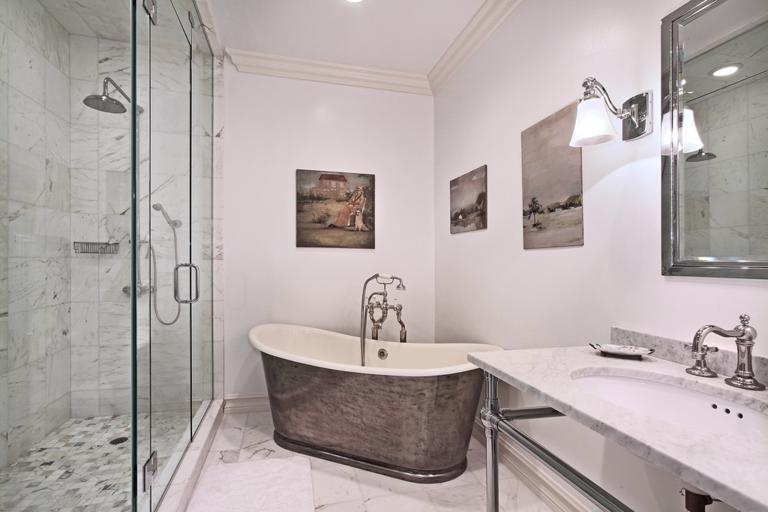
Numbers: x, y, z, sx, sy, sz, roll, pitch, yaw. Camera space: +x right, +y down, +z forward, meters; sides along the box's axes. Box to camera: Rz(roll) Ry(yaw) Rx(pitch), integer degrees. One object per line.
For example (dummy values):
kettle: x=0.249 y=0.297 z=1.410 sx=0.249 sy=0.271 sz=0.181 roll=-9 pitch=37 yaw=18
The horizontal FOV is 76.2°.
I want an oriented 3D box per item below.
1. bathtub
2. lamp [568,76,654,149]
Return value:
bathtub: x=-0.149 y=1.007 z=3.754 sx=1.875 sy=0.785 sz=0.872 roll=5 pitch=15 yaw=20
lamp: x=1.226 y=-0.798 z=2.708 sx=0.423 sy=0.341 sz=0.247 roll=-1 pitch=5 yaw=-2
